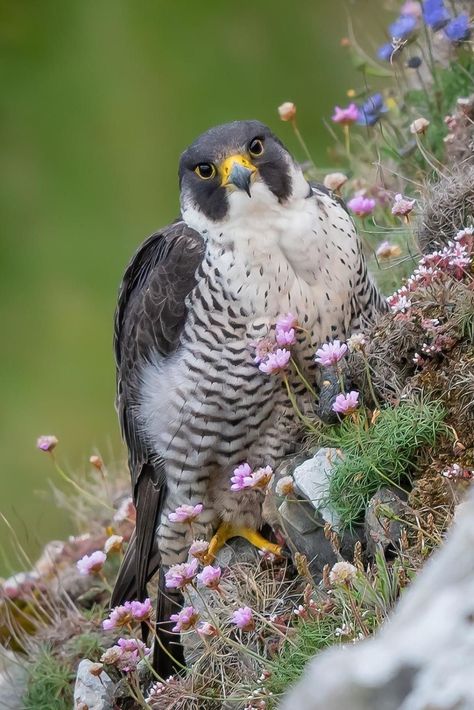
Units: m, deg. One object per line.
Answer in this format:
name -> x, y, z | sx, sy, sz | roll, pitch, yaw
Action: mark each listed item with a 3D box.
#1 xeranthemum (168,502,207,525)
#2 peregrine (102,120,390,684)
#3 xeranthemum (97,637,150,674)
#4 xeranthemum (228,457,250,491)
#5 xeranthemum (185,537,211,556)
xeranthemum -> -0.105, 0.366, 2.252 | 0.081, 0.048, 0.079 | -11, -20, -24
peregrine -> -0.015, -0.005, 3.132 | 0.742, 1.478, 1.194 | -7, 7, -20
xeranthemum -> -0.262, 0.704, 2.266 | 0.091, 0.076, 0.248 | -30, -9, -16
xeranthemum -> 0.012, 0.282, 2.245 | 0.072, 0.038, 0.061 | -68, -23, -6
xeranthemum -> -0.083, 0.435, 2.183 | 0.045, 0.036, 0.044 | -18, -15, -41
